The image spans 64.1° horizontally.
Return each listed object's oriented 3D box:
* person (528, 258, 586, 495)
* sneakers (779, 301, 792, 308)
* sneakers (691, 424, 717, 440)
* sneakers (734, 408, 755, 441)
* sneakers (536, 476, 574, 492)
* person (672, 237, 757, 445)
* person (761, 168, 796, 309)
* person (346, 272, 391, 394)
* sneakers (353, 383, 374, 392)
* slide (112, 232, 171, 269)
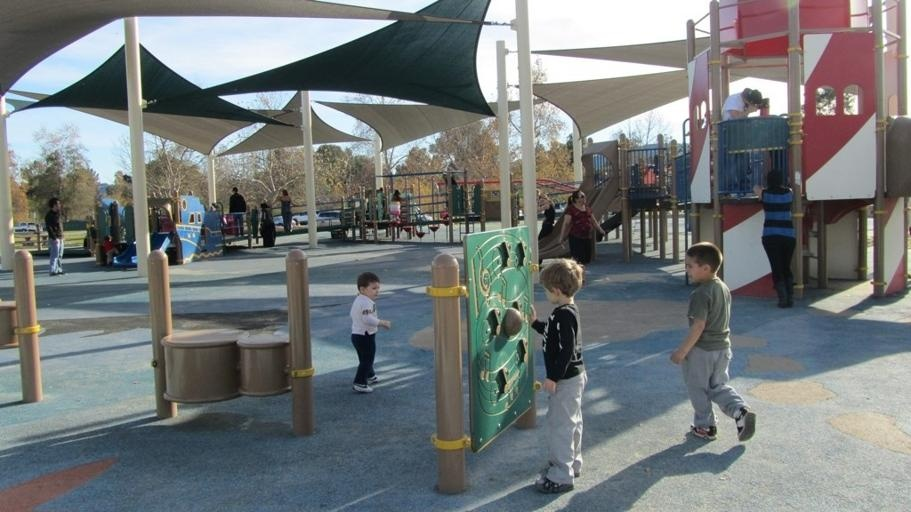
[{"bbox_3d":[1.225,1.384,8.580,0.492,2.627,0.714,-1,7,22],"label":"person"},{"bbox_3d":[5.952,0.853,13.071,0.285,0.094,0.113,-6,6,-18],"label":"sneakers"},{"bbox_3d":[3.104,2.164,9.118,0.133,0.165,0.307,-7,13,-44],"label":"sneakers"},{"bbox_3d":[3.572,2.029,8.957,0.187,0.411,0.189,0,12,12],"label":"sneakers"},{"bbox_3d":[1.172,2.654,8.566,0.445,0.202,0.164,-2,-1,4],"label":"sneakers"},{"bbox_3d":[3.185,1.059,9.058,0.890,2.429,0.564,-2,7,15],"label":"person"},{"bbox_3d":[5.827,-0.329,13.134,0.551,2.434,0.489,-1,7,23],"label":"person"},{"bbox_3d":[-1.253,1.043,10.279,0.533,1.640,0.503,-5,6,-9],"label":"person"},{"bbox_3d":[-1.294,1.829,10.228,0.270,0.115,0.105,0,3,-1],"label":"sneakers"},{"bbox_3d":[-9.105,-0.269,21.319,1.783,0.802,0.540,-11,29,-15],"label":"slide"}]
